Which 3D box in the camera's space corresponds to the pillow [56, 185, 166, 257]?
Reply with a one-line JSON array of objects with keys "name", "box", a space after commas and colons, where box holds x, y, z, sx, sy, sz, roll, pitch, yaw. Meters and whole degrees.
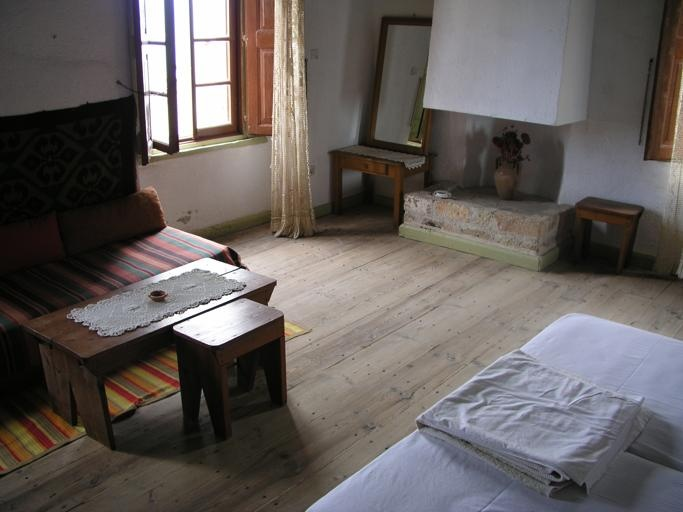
[{"name": "pillow", "box": [-1.745, -0.249, 3.610, 0.492, 0.235, 0.151, -22, 11, -38]}]

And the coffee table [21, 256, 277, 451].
[{"name": "coffee table", "box": [-1.065, 0.584, 2.695, 0.396, 0.366, 0.729, 24, 39, 32]}]

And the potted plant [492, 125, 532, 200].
[{"name": "potted plant", "box": [1.754, -0.978, 5.027, 0.349, 0.679, 0.558, 7, 22, 20]}]

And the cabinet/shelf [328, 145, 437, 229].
[{"name": "cabinet/shelf", "box": [0.484, -1.109, 5.528, 1.174, 0.921, 0.918, 20, 38, 30]}]

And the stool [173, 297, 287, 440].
[{"name": "stool", "box": [-0.599, 0.611, 2.698, 0.336, 0.567, 0.544, 9, 16, 30]}]

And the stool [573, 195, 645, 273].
[{"name": "stool", "box": [2.478, -0.215, 4.555, 0.525, 0.604, 0.419, 14, 25, 33]}]
